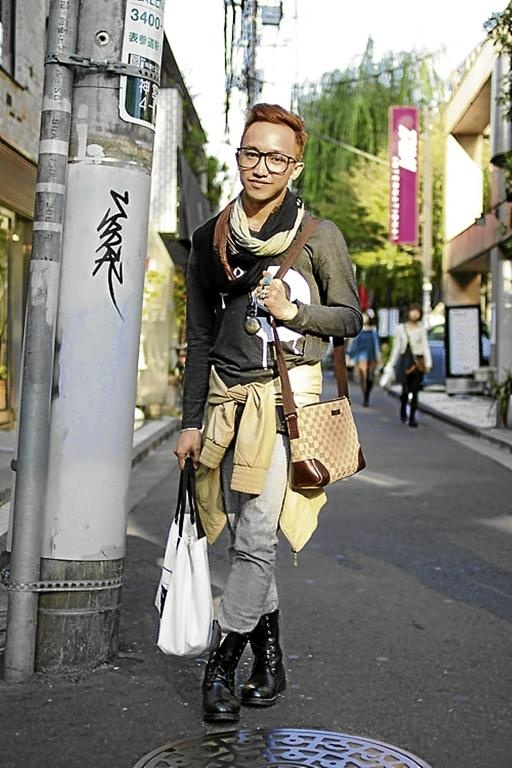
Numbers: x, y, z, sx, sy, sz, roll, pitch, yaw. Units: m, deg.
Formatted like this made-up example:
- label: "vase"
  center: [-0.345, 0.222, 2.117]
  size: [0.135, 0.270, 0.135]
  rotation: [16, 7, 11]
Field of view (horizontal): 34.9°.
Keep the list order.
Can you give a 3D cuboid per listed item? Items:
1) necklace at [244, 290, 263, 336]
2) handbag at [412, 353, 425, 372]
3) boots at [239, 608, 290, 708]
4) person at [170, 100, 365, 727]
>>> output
- label: "necklace"
  center: [-0.012, -0.209, 2.531]
  size: [0.037, 0.159, 0.076]
  rotation: [-3, -12, 12]
- label: "handbag"
  center: [2.831, -0.369, 14.152]
  size: [0.187, 0.218, 0.261]
  rotation: [0, 0, -13]
- label: "boots"
  center: [0.025, 0.913, 2.705]
  size: [0.095, 0.272, 0.262]
  rotation: [-5, -2, 17]
- label: "person"
  center: [0.012, 0.068, 2.624]
  size: [0.627, 1.887, 0.497]
  rotation: [1, 0, 12]
